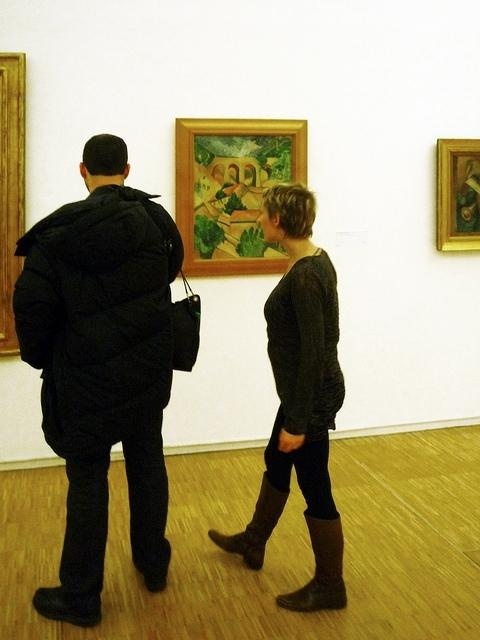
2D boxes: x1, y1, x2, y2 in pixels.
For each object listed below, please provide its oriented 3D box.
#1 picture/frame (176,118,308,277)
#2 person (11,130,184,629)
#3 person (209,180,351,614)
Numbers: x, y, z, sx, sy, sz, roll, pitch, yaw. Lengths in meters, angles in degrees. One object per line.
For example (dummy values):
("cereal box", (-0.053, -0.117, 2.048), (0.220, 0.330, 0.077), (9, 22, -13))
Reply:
("picture/frame", (-0.034, -0.804, 3.189), (1.022, 1.371, 0.062), (-2, 7, -13))
("person", (-0.449, 0.206, 1.762), (0.571, 1.678, 0.447), (-1, 1, -27))
("person", (0.205, 0.295, 1.867), (0.360, 1.498, 0.606), (0, 1, 1))
